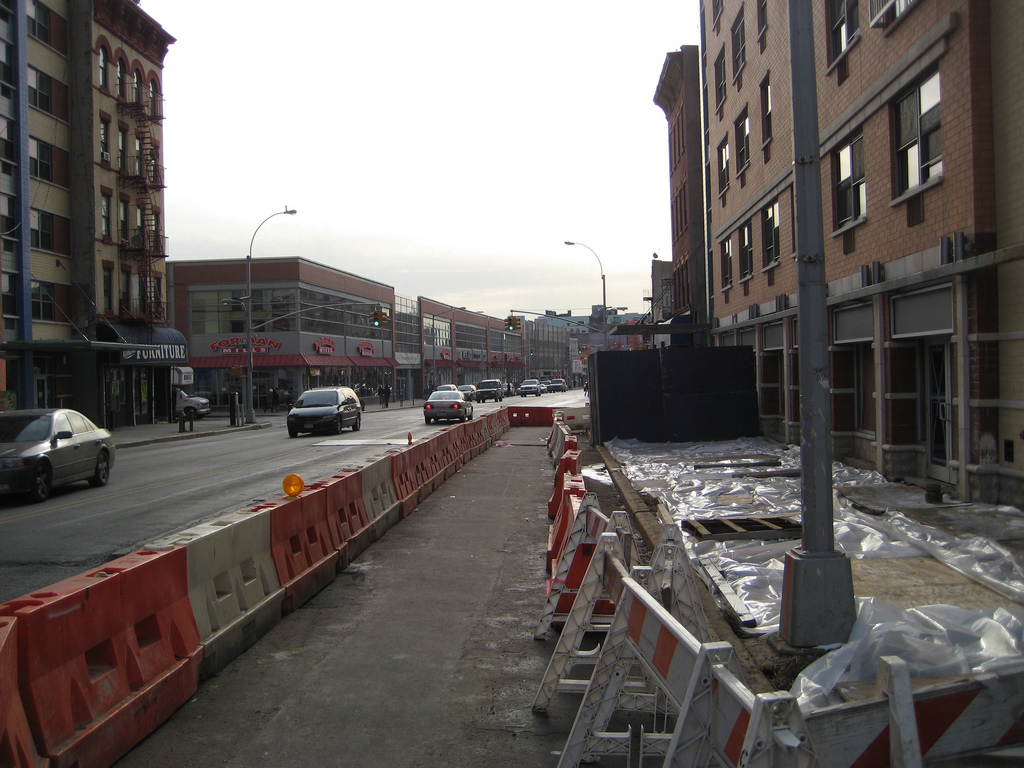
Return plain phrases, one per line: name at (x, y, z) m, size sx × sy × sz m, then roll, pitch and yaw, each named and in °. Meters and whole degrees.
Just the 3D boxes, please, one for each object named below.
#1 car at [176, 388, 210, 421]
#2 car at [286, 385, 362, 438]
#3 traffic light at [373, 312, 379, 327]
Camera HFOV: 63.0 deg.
car at (-19.121, 1.212, 50.153) m, size 2.678 × 1.806 × 1.728 m, roll -2°, pitch 2°, yaw -3°
car at (-7.739, 1.140, 34.863) m, size 2.227 × 1.905 × 3.807 m, roll -2°, pitch 2°, yaw 3°
traffic light at (-7.838, -3.855, 48.613) m, size 0.290 × 0.675 × 0.564 m, roll -2°, pitch 2°, yaw -7°
